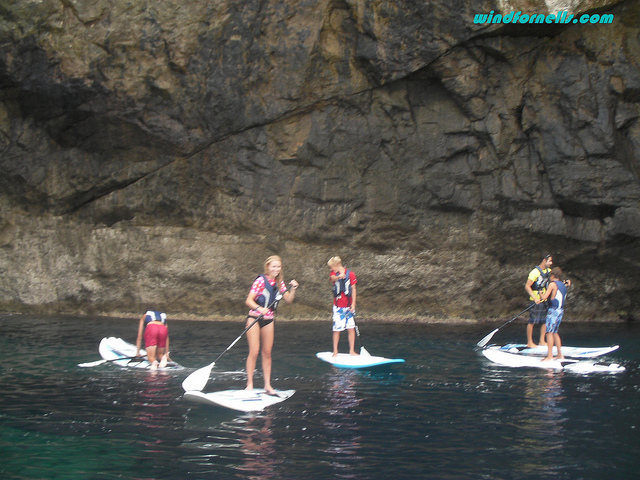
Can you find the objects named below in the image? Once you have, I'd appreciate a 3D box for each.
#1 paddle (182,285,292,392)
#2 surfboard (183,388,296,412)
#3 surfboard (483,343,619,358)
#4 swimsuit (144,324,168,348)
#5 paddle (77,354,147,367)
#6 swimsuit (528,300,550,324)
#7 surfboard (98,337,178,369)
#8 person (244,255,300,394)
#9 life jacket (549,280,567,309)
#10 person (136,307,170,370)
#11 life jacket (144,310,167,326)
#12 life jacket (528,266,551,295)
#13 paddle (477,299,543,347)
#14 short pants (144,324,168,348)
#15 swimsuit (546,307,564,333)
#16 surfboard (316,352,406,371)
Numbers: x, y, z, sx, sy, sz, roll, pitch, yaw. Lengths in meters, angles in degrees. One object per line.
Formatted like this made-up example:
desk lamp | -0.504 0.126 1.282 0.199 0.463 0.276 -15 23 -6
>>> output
paddle | -1.811 2.165 15.793 3.891 0.449 0.246 -28 13 -3
surfboard | -1.342 2.759 12.720 1.920 0.271 0.740 -3 11 -16
surfboard | 5.125 2.452 16.057 2.523 0.219 0.520 0 6 20
swimsuit | -3.288 1.919 14.563 0.445 0.575 0.288 -8 17 -29
paddle | -4.406 2.473 14.915 1.180 0.097 0.432 -6 12 -29
swimsuit | 4.908 1.636 16.253 0.357 0.631 0.550 5 15 18
surfboard | -3.881 2.458 15.248 1.744 0.443 0.268 28 -43 -22
person | -0.925 1.563 12.977 0.935 2.584 0.971 2 16 5
life jacket | 4.996 1.129 15.181 0.312 0.552 0.427 4 15 13
person | -3.452 1.957 14.791 0.675 1.298 0.955 -3 15 -12
life jacket | -3.315 1.548 14.566 0.450 0.281 0.346 5 -25 -28
life jacket | 4.826 0.865 15.739 0.329 0.556 0.705 5 13 16
paddle | 4.918 2.140 18.765 3.108 0.266 0.215 -21 -18 3
short pants | -3.288 1.915 14.562 0.445 0.567 0.288 -8 17 -29
swimsuit | 4.912 1.655 15.139 0.301 0.537 0.325 4 15 12
surfboard | 0.706 2.536 15.172 1.701 0.154 0.560 -1 1 43
